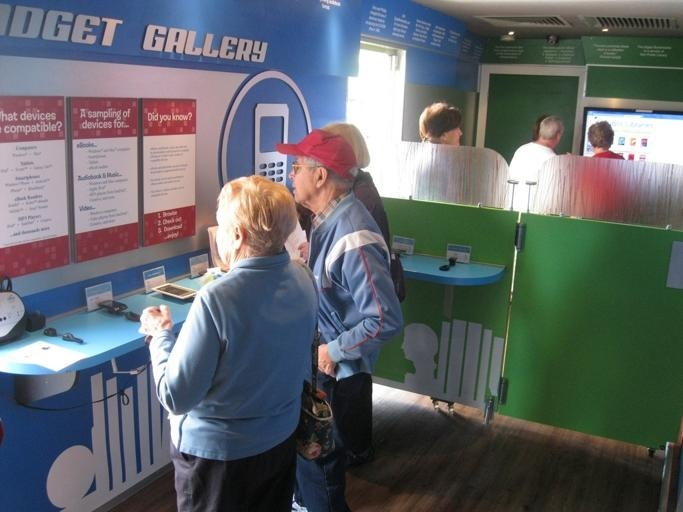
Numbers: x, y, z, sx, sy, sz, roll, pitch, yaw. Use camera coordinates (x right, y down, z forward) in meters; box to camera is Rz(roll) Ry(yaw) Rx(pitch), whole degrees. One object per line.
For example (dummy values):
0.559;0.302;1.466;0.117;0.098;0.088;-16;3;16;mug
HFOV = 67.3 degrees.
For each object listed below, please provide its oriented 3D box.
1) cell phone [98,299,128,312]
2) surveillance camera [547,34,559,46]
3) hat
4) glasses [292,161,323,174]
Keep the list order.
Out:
-1.096;0.222;2.423;0.118;0.035;0.063;19;21;24;cell phone
3.044;-3.125;7.399;0.160;0.115;0.222;8;14;31;surveillance camera
-0.107;-0.444;2.293;0.288;0.146;0.195;22;24;2;hat
-0.170;-0.385;2.265;0.092;0.031;0.070;-1;5;-45;glasses
